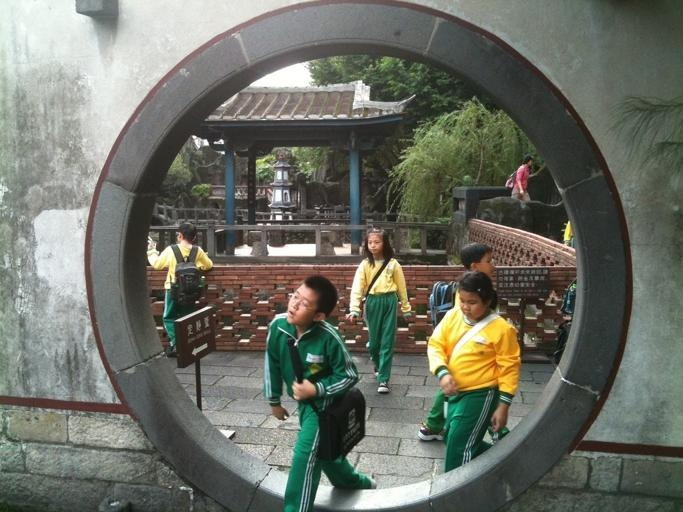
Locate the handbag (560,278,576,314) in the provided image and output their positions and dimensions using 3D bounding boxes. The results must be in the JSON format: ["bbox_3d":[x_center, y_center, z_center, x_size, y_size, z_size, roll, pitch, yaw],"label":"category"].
[{"bbox_3d":[2.206,0.406,5.670,0.085,0.360,0.089,1,-18,37],"label":"handbag"}]

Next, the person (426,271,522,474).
[{"bbox_3d":[0.867,0.786,3.948,0.591,1.356,0.392,3,3,17],"label":"person"}]

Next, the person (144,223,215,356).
[{"bbox_3d":[-1.937,0.370,7.001,0.740,1.469,0.764,5,13,-1],"label":"person"}]

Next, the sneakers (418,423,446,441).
[{"bbox_3d":[0.742,1.479,4.950,0.225,0.114,0.093,10,-5,-11],"label":"sneakers"}]

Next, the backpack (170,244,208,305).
[{"bbox_3d":[-1.760,0.253,6.729,0.362,0.691,0.477,2,3,-17],"label":"backpack"}]

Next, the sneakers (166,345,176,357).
[{"bbox_3d":[-2.064,1.170,7.195,0.099,0.139,0.309,2,-6,-14],"label":"sneakers"}]

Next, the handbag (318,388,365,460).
[{"bbox_3d":[-0.014,1.047,3.718,0.208,0.422,0.560,1,5,18],"label":"handbag"}]

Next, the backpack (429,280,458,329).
[{"bbox_3d":[0.865,0.398,5.175,0.298,0.609,0.427,1,-2,9],"label":"backpack"}]
